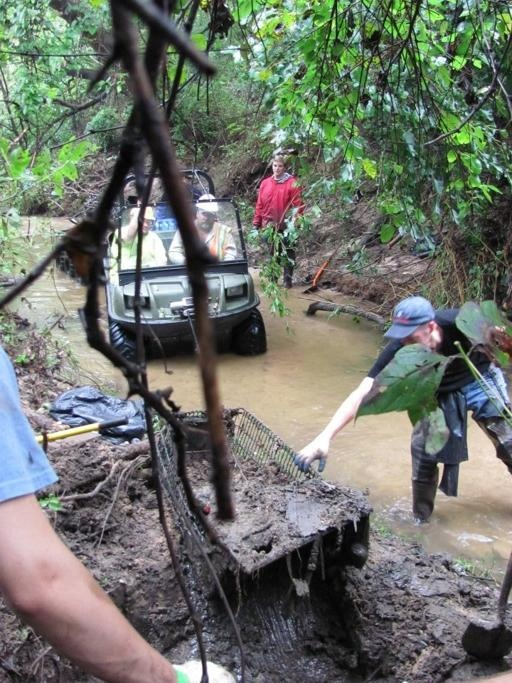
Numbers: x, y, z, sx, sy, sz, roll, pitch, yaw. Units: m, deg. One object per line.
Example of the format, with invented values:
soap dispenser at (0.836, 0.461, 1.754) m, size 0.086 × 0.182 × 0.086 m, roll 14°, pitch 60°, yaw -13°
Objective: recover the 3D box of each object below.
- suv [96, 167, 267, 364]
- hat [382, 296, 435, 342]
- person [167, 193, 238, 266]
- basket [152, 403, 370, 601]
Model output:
suv at (-0.921, -0.931, 7.581) m, size 1.700 × 1.767 × 3.005 m, roll -5°, pitch 23°, yaw -8°
hat at (0.808, -0.146, 3.295) m, size 0.330 × 0.147 × 0.210 m, roll -31°, pitch 34°, yaw -28°
person at (-0.554, -1.154, 6.824) m, size 0.862 × 0.836 × 0.594 m, roll -5°, pitch 6°, yaw 9°
basket at (-0.028, 0.784, 3.189) m, size 0.838 × 0.384 × 1.335 m, roll -9°, pitch 23°, yaw -23°
